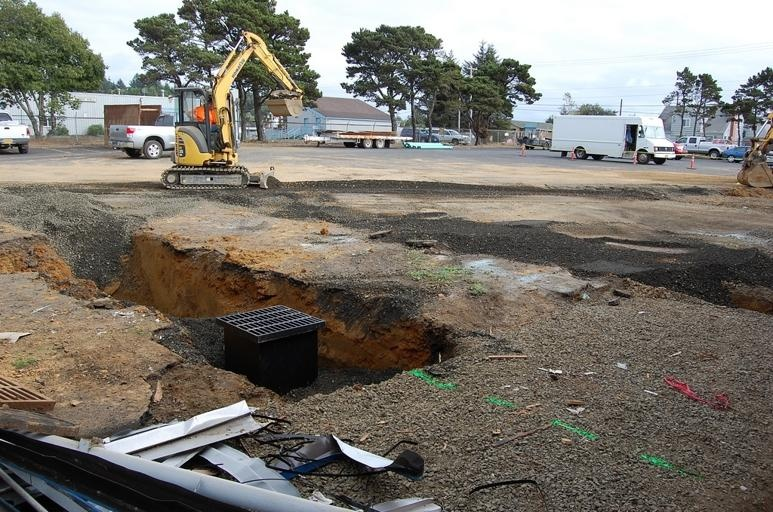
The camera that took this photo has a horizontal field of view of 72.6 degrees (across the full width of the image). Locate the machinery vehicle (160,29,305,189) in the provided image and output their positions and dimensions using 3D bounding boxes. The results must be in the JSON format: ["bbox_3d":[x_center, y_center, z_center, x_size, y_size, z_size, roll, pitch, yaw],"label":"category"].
[{"bbox_3d":[-5.085,-4.534,16.875,5.391,4.263,2.528,-8,29,-34],"label":"machinery vehicle"}]

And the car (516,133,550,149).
[{"bbox_3d":[12.964,-9.849,45.929,2.345,1.457,4.705,3,12,14],"label":"car"}]

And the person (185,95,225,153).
[{"bbox_3d":[-5.475,-3.974,16.350,1.384,1.511,0.668,12,7,6],"label":"person"}]
